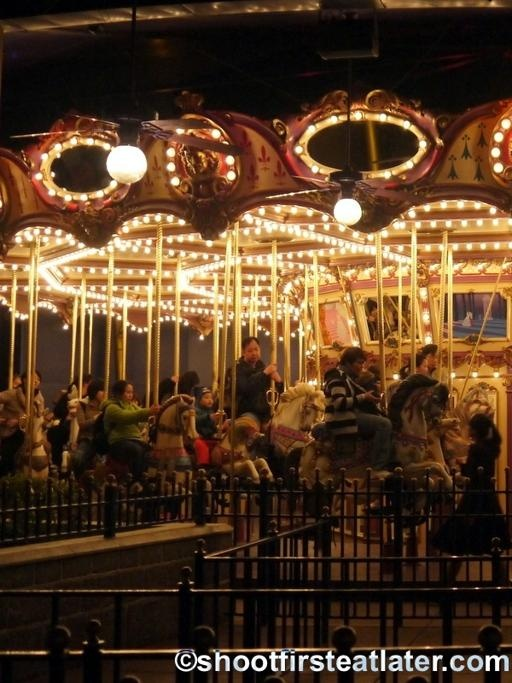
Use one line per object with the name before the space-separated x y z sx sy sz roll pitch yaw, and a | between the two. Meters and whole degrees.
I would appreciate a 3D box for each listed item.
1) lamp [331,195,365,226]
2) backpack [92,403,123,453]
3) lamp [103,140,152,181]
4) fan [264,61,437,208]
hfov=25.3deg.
lamp | 0.775 -1.035 9.108 0.252 0.228 0.224 1 -7 -15
backpack | -1.508 0.896 11.266 0.163 0.390 0.305 0 23 4
lamp | -0.963 -1.320 8.451 0.313 0.292 0.294 1 0 25
fan | 0.925 -1.601 10.460 1.454 1.278 2.479 0 -9 0
